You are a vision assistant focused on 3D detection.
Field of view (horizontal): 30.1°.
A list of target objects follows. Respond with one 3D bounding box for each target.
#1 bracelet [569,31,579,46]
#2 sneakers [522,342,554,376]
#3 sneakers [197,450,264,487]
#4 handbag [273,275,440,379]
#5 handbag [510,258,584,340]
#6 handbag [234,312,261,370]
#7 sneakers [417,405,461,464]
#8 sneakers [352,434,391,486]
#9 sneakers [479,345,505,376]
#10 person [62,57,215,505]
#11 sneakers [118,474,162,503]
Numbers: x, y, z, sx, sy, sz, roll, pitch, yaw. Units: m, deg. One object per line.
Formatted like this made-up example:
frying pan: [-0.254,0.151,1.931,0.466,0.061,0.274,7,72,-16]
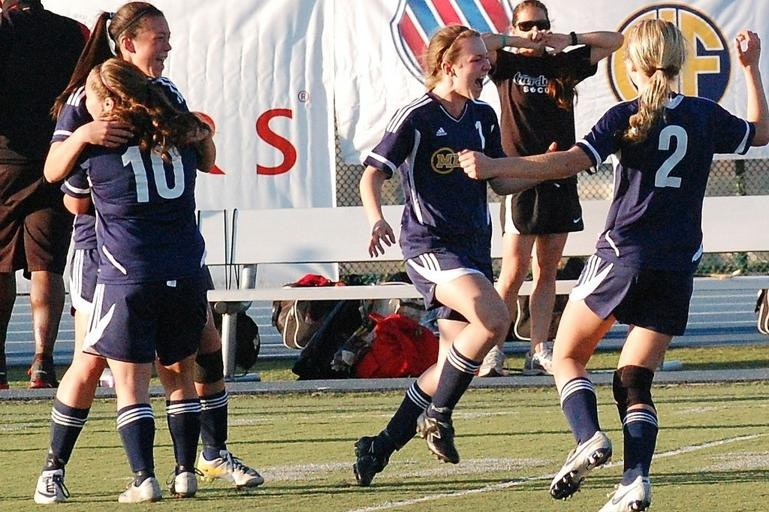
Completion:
bracelet: [1.419,-1.620,10.666,0.028,0.085,0.068,-5,-4,-23]
sneakers: [1.186,0.773,10.822,0.133,0.170,0.336,1,-7,-22]
sneakers: [-0.923,1.261,8.605,0.464,0.216,0.192,4,-6,29]
handbag: [-0.117,0.525,11.323,1.051,0.467,0.803,9,-7,-37]
handbag: [1.389,0.342,12.173,0.549,0.752,0.268,1,-11,17]
handbag: [-1.099,0.666,11.532,0.289,0.401,0.340,-2,-1,-5]
sneakers: [0.326,1.049,8.572,0.242,0.341,0.102,0,2,1]
sneakers: [-0.077,1.203,8.603,0.219,0.291,0.208,-1,2,-11]
sneakers: [0.823,0.778,10.912,0.152,0.180,0.392,3,8,10]
person: [-1.372,0.137,8.297,0.721,2.542,0.356,-1,2,-11]
sneakers: [-1.403,1.333,8.253,0.268,0.120,0.115,-4,-3,41]
